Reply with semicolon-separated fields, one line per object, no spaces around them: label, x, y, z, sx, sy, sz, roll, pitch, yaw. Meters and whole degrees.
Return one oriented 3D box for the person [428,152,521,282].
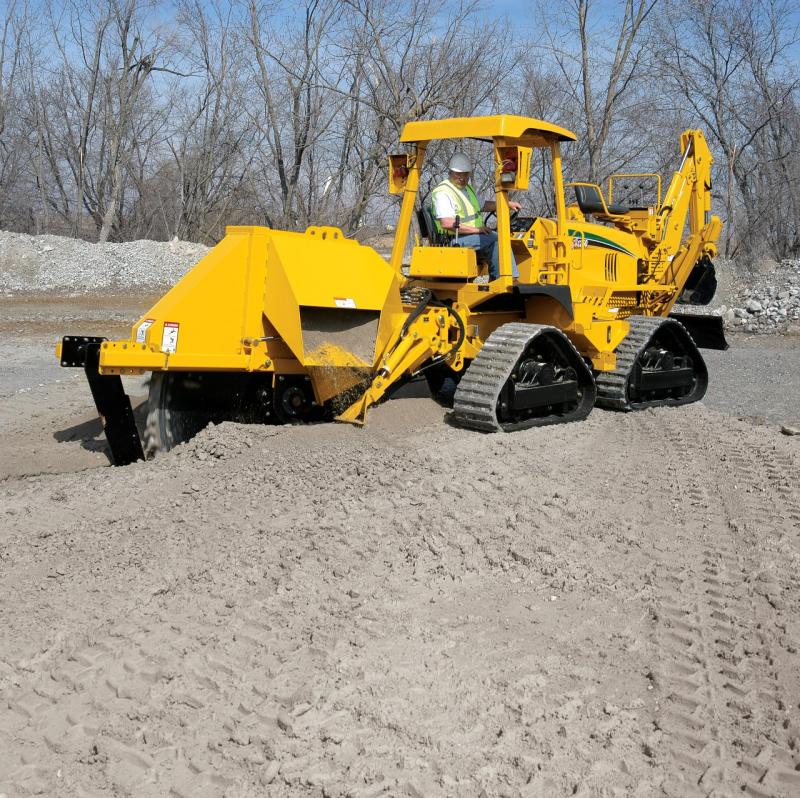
person;0.661;-1.550;6.593;0.671;1.177;0.569;3;22;37

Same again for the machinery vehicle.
machinery vehicle;0.719;-1.175;7.256;7.144;2.943;2.558;-10;10;-35
